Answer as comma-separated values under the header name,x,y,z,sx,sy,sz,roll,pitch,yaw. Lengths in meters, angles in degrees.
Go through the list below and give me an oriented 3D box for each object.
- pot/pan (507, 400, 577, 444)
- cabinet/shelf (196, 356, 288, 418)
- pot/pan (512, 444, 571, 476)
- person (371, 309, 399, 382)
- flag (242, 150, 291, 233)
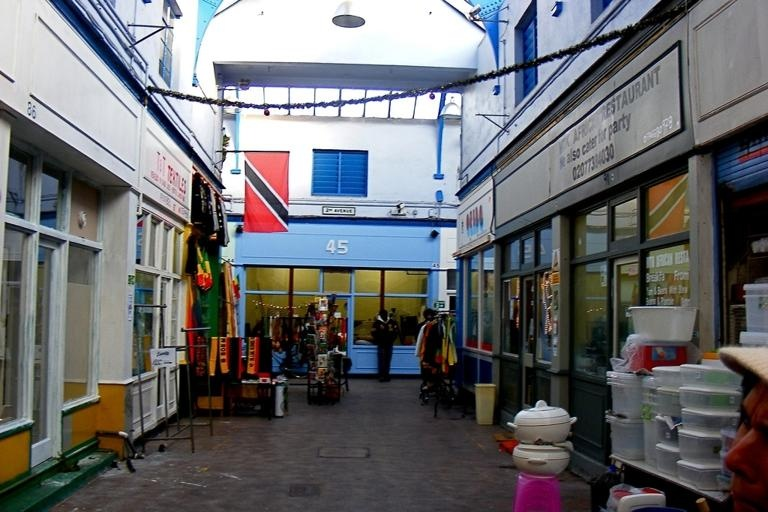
name,x,y,z,sx,sy,sz,roll,pitch,yaw
pot/pan,1.577,1.682,6.211,0.576,0.339,0.276,3,-4,-22
cabinet/shelf,-2.779,2.833,12.714,1.380,0.650,1.043,1,0,2
pot/pan,1.554,2.031,6.314,0.555,0.312,0.630,-1,-10,12
person,0.012,2.710,19.303,0.611,1.973,0.904,1,1,-4
flag,-3.010,-1.668,16.134,1.276,2.152,0.078,2,2,-1
